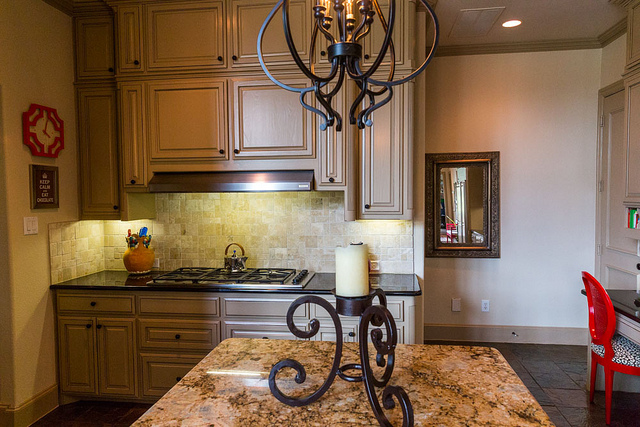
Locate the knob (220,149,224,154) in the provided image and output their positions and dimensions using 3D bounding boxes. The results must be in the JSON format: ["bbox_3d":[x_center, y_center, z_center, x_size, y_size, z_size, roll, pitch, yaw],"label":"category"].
[{"bbox_3d":[-0.981,-0.615,4.654,0.032,0.033,0.030,8,11,-5],"label":"knob"}]

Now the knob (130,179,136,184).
[{"bbox_3d":[-1.899,-0.321,4.743,0.050,0.038,0.010,-2,1,0],"label":"knob"}]

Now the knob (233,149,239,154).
[{"bbox_3d":[-0.839,-0.618,4.648,0.039,0.040,0.029,1,4,4],"label":"knob"}]

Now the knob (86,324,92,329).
[{"bbox_3d":[-2.260,1.089,4.569,0.040,0.029,0.036,1,0,13],"label":"knob"}]

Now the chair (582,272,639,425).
[{"bbox_3d":[2.646,1.210,4.269,0.440,1.344,0.375,-1,2,29],"label":"chair"}]

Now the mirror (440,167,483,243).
[{"bbox_3d":[1.699,-0.119,5.632,0.613,1.154,0.059,0,24,17],"label":"mirror"}]

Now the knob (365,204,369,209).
[{"bbox_3d":[0.452,-0.073,4.549,0.031,0.032,0.036,-11,16,4],"label":"knob"}]

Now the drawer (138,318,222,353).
[{"bbox_3d":[-1.362,1.170,4.714,0.808,0.368,0.508,1,1,-1],"label":"drawer"}]

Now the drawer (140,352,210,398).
[{"bbox_3d":[-1.381,1.548,4.706,0.733,0.471,0.422,1,1,1],"label":"drawer"}]

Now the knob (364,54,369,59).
[{"bbox_3d":[0.444,-1.505,4.515,0.034,0.035,0.019,0,10,7],"label":"knob"}]

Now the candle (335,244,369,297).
[{"bbox_3d":[0.184,0.333,2.890,0.250,0.418,0.276,0,-2,6],"label":"candle"}]

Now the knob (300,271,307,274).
[{"bbox_3d":[-0.174,0.603,4.832,0.070,0.025,0.059,-2,1,-10],"label":"knob"}]

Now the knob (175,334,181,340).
[{"bbox_3d":[-1.368,1.175,4.489,0.040,0.031,0.045,1,5,2],"label":"knob"}]

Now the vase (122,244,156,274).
[{"bbox_3d":[-1.868,0.497,4.931,0.308,0.364,0.297,-2,-12,16],"label":"vase"}]

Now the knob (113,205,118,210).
[{"bbox_3d":[-2.106,-0.066,4.810,0.037,0.038,0.012,3,4,-3],"label":"knob"}]

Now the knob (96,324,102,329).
[{"bbox_3d":[-2.147,1.090,4.557,0.045,0.044,0.013,-1,1,14],"label":"knob"}]
